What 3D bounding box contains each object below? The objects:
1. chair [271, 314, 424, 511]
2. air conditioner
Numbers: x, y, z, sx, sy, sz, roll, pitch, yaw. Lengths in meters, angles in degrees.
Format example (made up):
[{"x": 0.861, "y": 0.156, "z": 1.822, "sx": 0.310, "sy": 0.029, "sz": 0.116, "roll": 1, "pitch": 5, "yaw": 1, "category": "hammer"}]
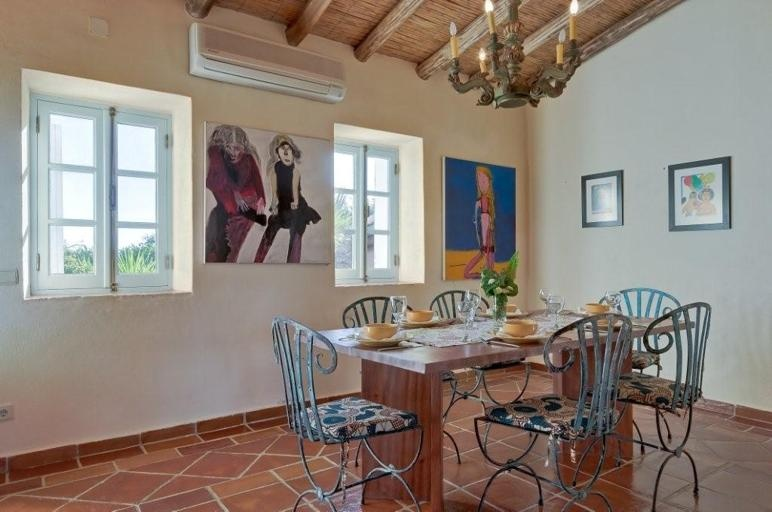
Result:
[{"x": -0.330, "y": 1.017, "z": 3.802, "sx": 0.887, "sy": 1.335, "sz": 1.411, "roll": -3, "pitch": 2, "yaw": -13, "category": "chair"}, {"x": -1.030, "y": -1.716, "z": 4.719, "sx": 1.353, "sy": 0.526, "sz": 0.182, "roll": -3, "pitch": 2, "yaw": -26, "category": "air conditioner"}]
